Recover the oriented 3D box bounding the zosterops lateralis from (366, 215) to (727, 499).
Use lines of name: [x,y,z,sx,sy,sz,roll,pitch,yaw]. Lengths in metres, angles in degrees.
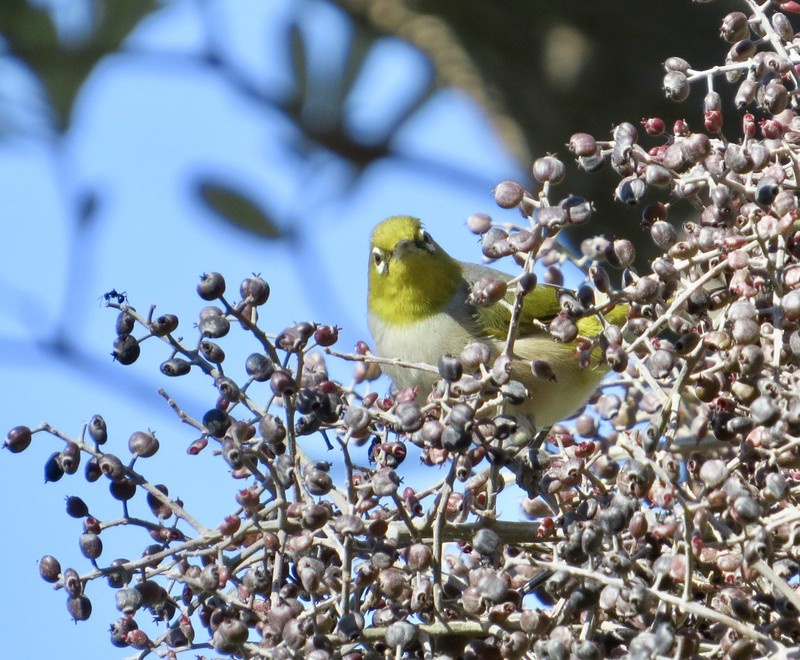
zosterops lateralis: [0.475,-0.029,7.640,1.160,0.833,0.673,0,-5,-3]
